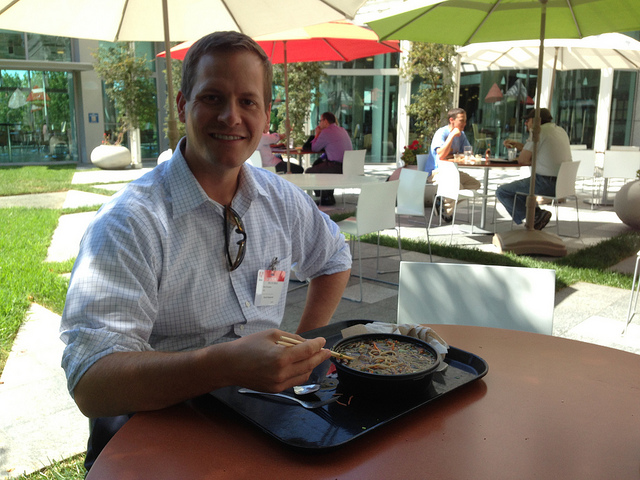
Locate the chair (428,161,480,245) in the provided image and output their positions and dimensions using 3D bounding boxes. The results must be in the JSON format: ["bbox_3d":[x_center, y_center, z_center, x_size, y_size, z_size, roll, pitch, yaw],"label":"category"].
[{"bbox_3d":[1.893,-0.578,6.382,0.429,0.820,0.432,-9,1,-9],"label":"chair"}]

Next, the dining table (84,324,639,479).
[{"bbox_3d":[0.230,0.361,1.299,1.464,0.194,0.682,0,12,-3],"label":"dining table"}]

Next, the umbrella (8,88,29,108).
[{"bbox_3d":[-11.437,-5.376,18.147,0.528,0.888,0.807,2,5,41],"label":"umbrella"}]

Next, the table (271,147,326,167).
[{"bbox_3d":[-0.543,-1.867,9.931,0.742,0.524,0.783,5,14,23],"label":"table"}]

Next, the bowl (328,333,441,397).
[{"bbox_3d":[0.170,0.306,1.266,0.171,0.061,0.180,-3,13,1],"label":"bowl"}]

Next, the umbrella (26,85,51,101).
[{"bbox_3d":[-10.838,-5.759,18.254,0.545,0.562,0.583,-1,14,1],"label":"umbrella"}]

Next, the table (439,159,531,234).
[{"bbox_3d":[2.762,-0.683,7.777,1.373,1.101,1.440,-6,17,-19],"label":"table"}]

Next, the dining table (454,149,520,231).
[{"bbox_3d":[2.640,-0.770,7.586,0.863,1.077,0.894,-2,9,11],"label":"dining table"}]

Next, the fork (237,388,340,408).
[{"bbox_3d":[-0.089,0.421,1.236,0.177,0.030,0.032,13,14,-8],"label":"fork"}]
